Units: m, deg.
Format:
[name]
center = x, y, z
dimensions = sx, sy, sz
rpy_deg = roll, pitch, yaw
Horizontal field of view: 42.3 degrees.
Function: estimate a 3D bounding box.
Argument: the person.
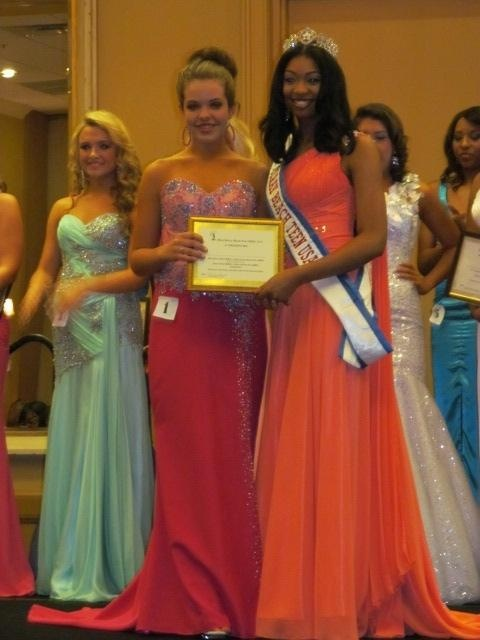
[person]
center = 0.117, 0.053, 1.498
dimensions = 0.895, 1.502, 0.626
rpy_deg = 5, 10, 34
